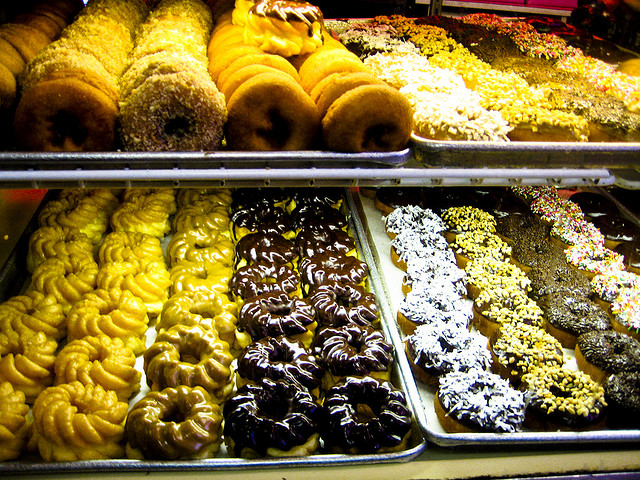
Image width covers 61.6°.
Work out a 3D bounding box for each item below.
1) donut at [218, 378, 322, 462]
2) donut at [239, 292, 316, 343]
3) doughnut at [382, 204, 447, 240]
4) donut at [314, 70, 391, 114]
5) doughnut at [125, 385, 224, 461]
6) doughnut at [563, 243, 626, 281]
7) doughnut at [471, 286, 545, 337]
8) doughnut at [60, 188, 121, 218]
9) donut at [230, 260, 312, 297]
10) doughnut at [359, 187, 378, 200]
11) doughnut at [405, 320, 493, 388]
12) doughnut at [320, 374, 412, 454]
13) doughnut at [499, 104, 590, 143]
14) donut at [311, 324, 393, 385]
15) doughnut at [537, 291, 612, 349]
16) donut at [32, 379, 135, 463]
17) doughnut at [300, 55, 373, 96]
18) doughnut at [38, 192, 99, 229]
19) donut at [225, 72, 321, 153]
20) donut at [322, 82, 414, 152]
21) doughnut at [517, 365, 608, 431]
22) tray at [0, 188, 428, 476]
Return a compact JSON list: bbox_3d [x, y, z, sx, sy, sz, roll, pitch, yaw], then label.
[{"bbox_3d":[-0.150,0.552,1.646,0.246,0.101,0.236,10,29,-3],"label":"donut"},{"bbox_3d":[-0.145,0.276,1.949,0.280,0.114,0.281,-6,16,-19],"label":"donut"},{"bbox_3d":[0.404,-0.088,2.274,0.157,0.062,0.176,9,20,10],"label":"doughnut"},{"bbox_3d":[0.086,-0.482,1.780,0.253,0.082,0.240,-13,14,-24],"label":"donut"},{"bbox_3d":[-0.440,0.558,1.629,0.225,0.089,0.232,1,32,-5],"label":"doughnut"},{"bbox_3d":[1.160,0.060,2.282,0.231,0.079,0.209,14,7,18],"label":"doughnut"},{"bbox_3d":[0.681,0.252,1.984,0.197,0.066,0.201,21,36,20],"label":"doughnut"},{"bbox_3d":[-0.971,-0.169,2.270,0.240,0.083,0.190,7,4,-39],"label":"doughnut"},{"bbox_3d":[-0.213,0.164,2.101,0.294,0.113,0.295,-5,-7,10],"label":"donut"},{"bbox_3d":[0.232,-0.222,2.482,0.060,0.043,0.060,10,50,5],"label":"doughnut"},{"bbox_3d":[0.466,0.382,1.927,0.234,0.087,0.251,-27,-5,-16],"label":"doughnut"},{"bbox_3d":[0.156,0.544,1.668,0.232,0.089,0.231,-1,43,-5],"label":"doughnut"},{"bbox_3d":[0.774,-0.394,1.843,0.213,0.070,0.161,5,33,3],"label":"doughnut"},{"bbox_3d":[0.116,0.405,1.895,0.325,0.135,0.315,7,7,5],"label":"donut"},{"bbox_3d":[0.963,0.285,2.032,0.229,0.088,0.241,25,39,26],"label":"doughnut"},{"bbox_3d":[-0.724,0.549,1.640,0.252,0.084,0.253,34,43,13],"label":"donut"},{"bbox_3d":[0.047,-0.565,1.779,0.177,0.059,0.182,10,39,19],"label":"doughnut"},{"bbox_3d":[-0.995,-0.116,2.161,0.161,0.062,0.160,-4,37,-6],"label":"doughnut"},{"bbox_3d":[-0.149,-0.367,1.629,0.267,0.260,0.097,0,33,-8],"label":"donut"},{"bbox_3d":[0.152,-0.365,1.659,0.280,0.187,0.117,-2,-9,-2],"label":"donut"},{"bbox_3d":[0.816,0.526,1.811,0.262,0.093,0.246,-16,27,-21],"label":"doughnut"},{"bbox_3d":[-0.441,0.227,1.987,1.513,1.034,0.691,-1,-9,-4],"label":"tray"}]
